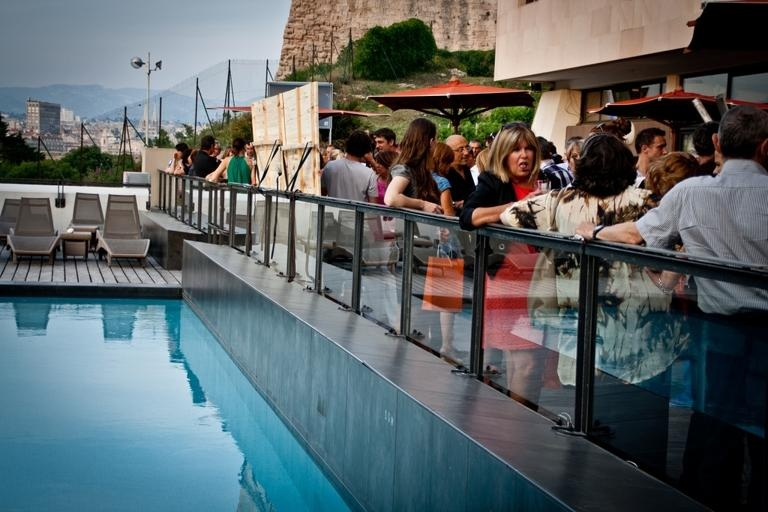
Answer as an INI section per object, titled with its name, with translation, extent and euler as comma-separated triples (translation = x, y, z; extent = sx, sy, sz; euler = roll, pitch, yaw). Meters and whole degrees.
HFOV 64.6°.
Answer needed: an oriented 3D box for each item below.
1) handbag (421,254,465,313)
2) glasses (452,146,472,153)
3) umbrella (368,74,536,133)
[handbag]
translation = 0.404, 0.207, 4.166
extent = 0.078, 0.330, 0.344
euler = 5, 14, -24
[glasses]
translation = 0.782, -1.115, 6.363
extent = 0.157, 0.050, 0.161
euler = -2, 1, -29
[umbrella]
translation = 1.537, -3.238, 12.453
extent = 2.256, 1.057, 2.683
euler = -3, 5, -6
